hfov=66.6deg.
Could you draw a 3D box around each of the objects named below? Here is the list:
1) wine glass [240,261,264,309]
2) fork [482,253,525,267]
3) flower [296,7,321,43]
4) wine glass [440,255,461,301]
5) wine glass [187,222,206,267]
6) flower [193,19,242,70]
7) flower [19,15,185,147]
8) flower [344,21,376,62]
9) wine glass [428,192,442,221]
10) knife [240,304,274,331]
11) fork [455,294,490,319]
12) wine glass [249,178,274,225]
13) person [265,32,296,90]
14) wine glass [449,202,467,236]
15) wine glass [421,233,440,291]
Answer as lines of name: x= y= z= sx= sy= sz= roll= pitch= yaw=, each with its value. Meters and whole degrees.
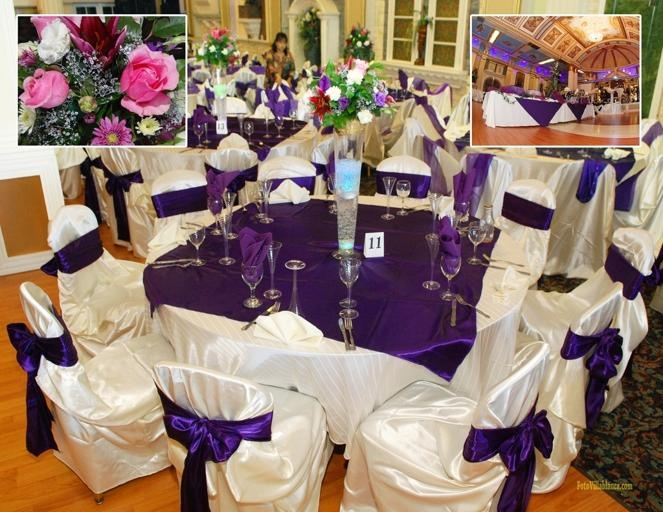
wine glass: x=-0.391 y=0.109 z=2.505 sx=0.092 sy=0.236 sz=0.277 roll=-3 pitch=18 yaw=-10
fork: x=0.963 y=0.026 z=2.843 sx=0.198 sy=0.043 sz=0.045 roll=8 pitch=16 yaw=15
flower: x=-0.504 y=-5.010 z=10.803 sx=0.496 sy=0.644 sz=0.592 roll=-9 pitch=56 yaw=-10
wine glass: x=0.581 y=0.095 z=2.489 sx=0.084 sy=0.239 sz=0.093 roll=-2 pitch=21 yaw=6
wine glass: x=-0.775 y=-0.059 z=2.889 sx=0.111 sy=0.306 sz=0.130 roll=-5 pitch=25 yaw=-11
flower: x=-1.157 y=-2.075 z=5.148 sx=0.449 sy=0.542 sz=0.435 roll=-13 pitch=22 yaw=-44
flower: x=-0.976 y=-0.739 z=2.200 sx=0.492 sy=0.633 sz=0.320 roll=-3 pitch=14 yaw=-17
flower: x=0.491 y=-3.856 z=8.672 sx=0.486 sy=0.507 sz=0.406 roll=-1 pitch=-16 yaw=3
wine glass: x=0.661 y=-0.318 z=3.213 sx=0.073 sy=0.205 sz=0.350 roll=4 pitch=18 yaw=12
knife: x=-0.348 y=0.292 z=2.364 sx=0.018 sy=0.022 sz=0.168 roll=30 pitch=38 yaw=10
fork: x=0.681 y=0.248 z=2.451 sx=0.019 sy=0.023 sz=0.137 roll=-27 pitch=58 yaw=-32
wine glass: x=-0.455 y=-0.386 z=3.352 sx=0.117 sy=0.256 sz=0.374 roll=-2 pitch=18 yaw=-8
person: x=-0.888 y=-3.516 z=8.861 sx=0.284 sy=0.329 sz=0.822 roll=1 pitch=62 yaw=22
wine glass: x=0.810 y=-0.239 z=3.169 sx=0.092 sy=0.189 sz=0.340 roll=5 pitch=18 yaw=13
wine glass: x=0.540 y=0.013 z=2.683 sx=0.083 sy=0.240 sz=0.338 roll=4 pitch=18 yaw=10
